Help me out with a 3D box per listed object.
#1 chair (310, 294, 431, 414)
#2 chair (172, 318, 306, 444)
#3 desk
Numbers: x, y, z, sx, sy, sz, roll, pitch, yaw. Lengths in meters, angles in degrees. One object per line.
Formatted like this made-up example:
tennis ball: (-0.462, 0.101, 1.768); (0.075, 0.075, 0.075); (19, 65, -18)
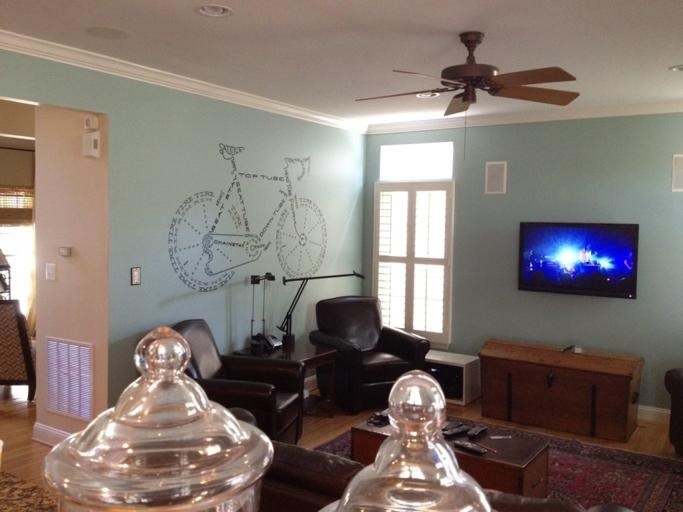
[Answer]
chair: (0.247, 0.915, 5.351); (1.079, 1.170, 1.054); (1, -5, -28)
chair: (-0.799, 1.000, 3.987); (0.900, 0.953, 0.841); (1, 3, 4)
desk: (2.000, 1.214, 4.770); (1.252, 0.630, 0.501); (1, 6, 38)
